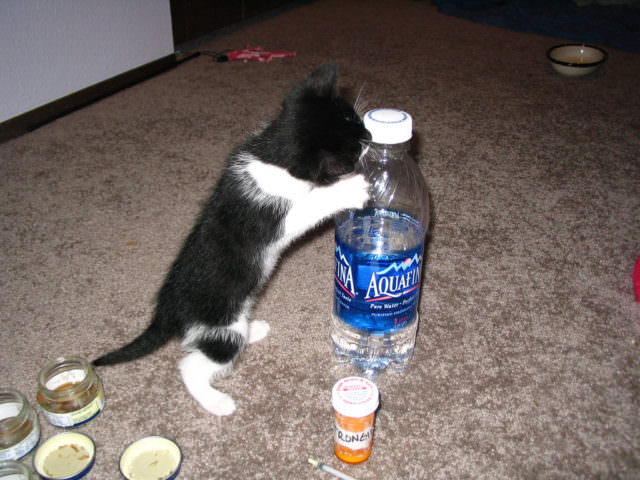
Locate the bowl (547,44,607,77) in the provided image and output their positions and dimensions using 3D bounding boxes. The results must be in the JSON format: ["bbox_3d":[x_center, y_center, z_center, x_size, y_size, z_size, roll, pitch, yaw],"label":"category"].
[{"bbox_3d":[1.437,-1.039,3.162,0.324,0.102,0.328,2,14,-1],"label":"bowl"}]

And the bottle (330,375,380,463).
[{"bbox_3d":[0.090,0.472,1.399,0.113,0.158,0.110,-3,7,0],"label":"bottle"}]
